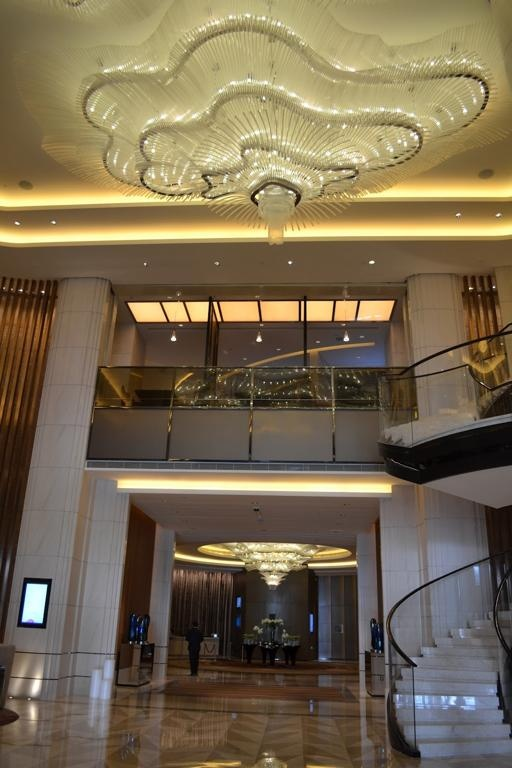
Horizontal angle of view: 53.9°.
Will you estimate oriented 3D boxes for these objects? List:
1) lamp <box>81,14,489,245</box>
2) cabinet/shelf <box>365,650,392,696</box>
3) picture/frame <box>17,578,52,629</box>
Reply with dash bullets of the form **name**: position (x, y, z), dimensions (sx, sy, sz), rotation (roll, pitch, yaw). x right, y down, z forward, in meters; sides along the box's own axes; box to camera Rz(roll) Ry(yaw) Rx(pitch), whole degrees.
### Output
- **lamp**: position (0.193, -2.118, 4.618), dimensions (2.330, 0.775, 2.129), rotation (-1, -11, 2)
- **cabinet/shelf**: position (2.759, 6.643, 11.673), dimensions (0.433, 0.832, 3.106), rotation (-3, -23, 10)
- **picture/frame**: position (-4.005, 3.993, 9.124), dimensions (0.520, 0.813, 0.197), rotation (4, -11, 3)
